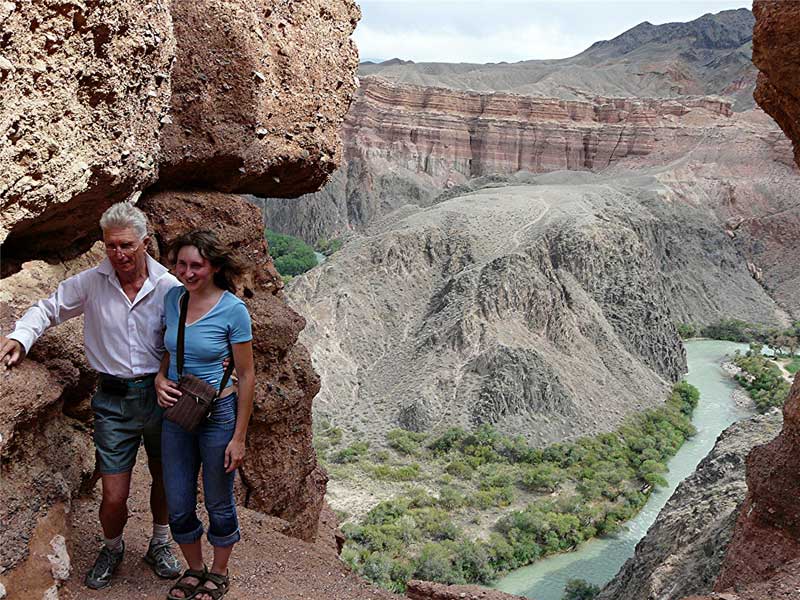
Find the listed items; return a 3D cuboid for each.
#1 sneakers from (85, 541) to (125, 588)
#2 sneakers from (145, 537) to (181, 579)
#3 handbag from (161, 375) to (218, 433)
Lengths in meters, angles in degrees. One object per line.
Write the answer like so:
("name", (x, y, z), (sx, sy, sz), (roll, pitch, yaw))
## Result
("sneakers", (-2.139, 1.928, 4.674), (0.141, 0.144, 0.362), (23, 28, -4))
("sneakers", (-1.829, 1.976, 4.891), (0.201, 0.150, 0.417), (-9, 20, -42))
("handbag", (-1.437, 0.711, 4.469), (0.342, 0.389, 0.131), (35, 10, 1))
